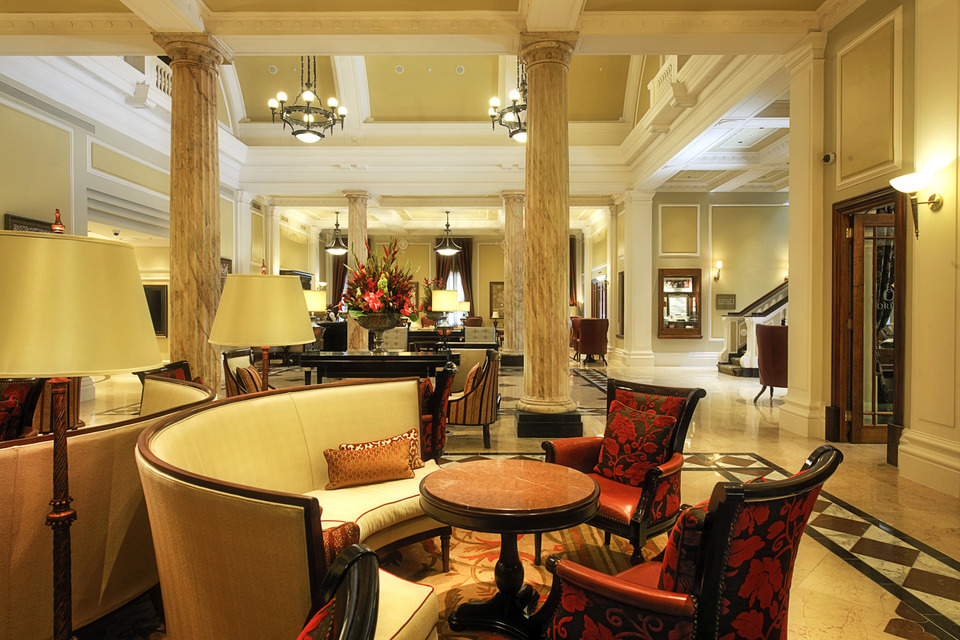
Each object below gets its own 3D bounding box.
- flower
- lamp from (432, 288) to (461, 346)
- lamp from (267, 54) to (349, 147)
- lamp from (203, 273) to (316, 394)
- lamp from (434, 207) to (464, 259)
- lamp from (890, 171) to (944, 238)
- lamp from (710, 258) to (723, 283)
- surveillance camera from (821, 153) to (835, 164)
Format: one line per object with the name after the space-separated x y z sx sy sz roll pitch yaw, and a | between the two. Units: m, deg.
-1.037 -0.417 6.760 0.743 0.820 0.558 0 1 -6 | flower
-0.469 -0.134 8.838 0.509 0.774 0.505 -2 5 -20 | lamp
-2.617 -3.545 9.849 0.998 1.637 0.918 -1 -2 14 | lamp
-1.443 0.001 4.609 0.594 1.202 0.584 3 5 39 | lamp
-0.975 -2.415 19.084 1.108 1.595 1.122 2 2 20 | lamp
4.028 -1.058 6.023 0.301 0.586 0.349 0 1 -30 | lamp
4.920 -1.022 13.582 0.235 0.445 0.119 0 1 1 | lamp
3.826 -1.788 7.207 0.085 0.087 0.133 1 1 -3 | surveillance camera
